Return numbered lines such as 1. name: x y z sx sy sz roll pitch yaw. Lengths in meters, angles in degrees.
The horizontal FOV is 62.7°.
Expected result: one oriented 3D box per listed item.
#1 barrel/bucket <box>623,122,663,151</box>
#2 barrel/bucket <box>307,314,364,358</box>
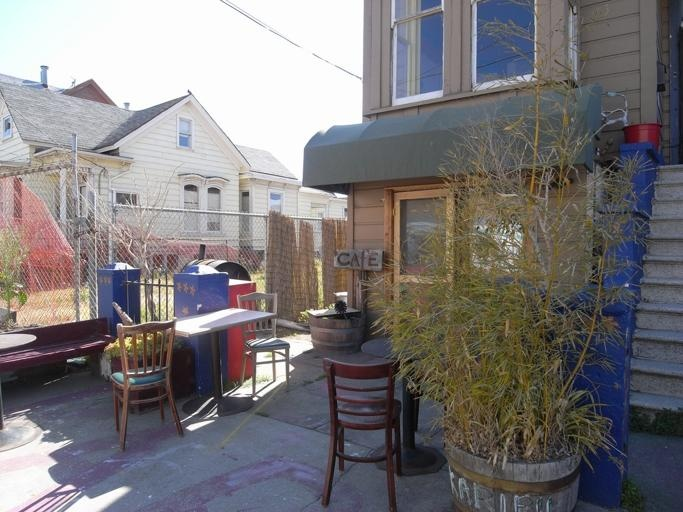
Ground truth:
1. barrel/bucket: 3.749 -1.411 7.031 0.380 0.327 0.414 4 -7 1
2. barrel/bucket: -0.074 1.142 8.170 0.562 0.393 0.606 -1 -6 0
